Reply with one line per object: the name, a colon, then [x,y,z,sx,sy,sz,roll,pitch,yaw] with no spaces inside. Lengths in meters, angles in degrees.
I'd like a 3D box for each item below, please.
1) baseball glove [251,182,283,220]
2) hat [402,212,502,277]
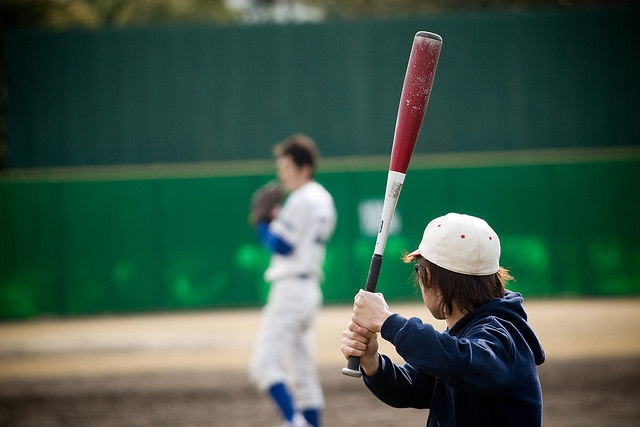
baseball glove: [-0.440,-0.090,6.480,0.124,0.287,0.230,27,-19,39]
hat: [0.830,0.195,4.705,0.326,0.237,0.409,8,7,-45]
